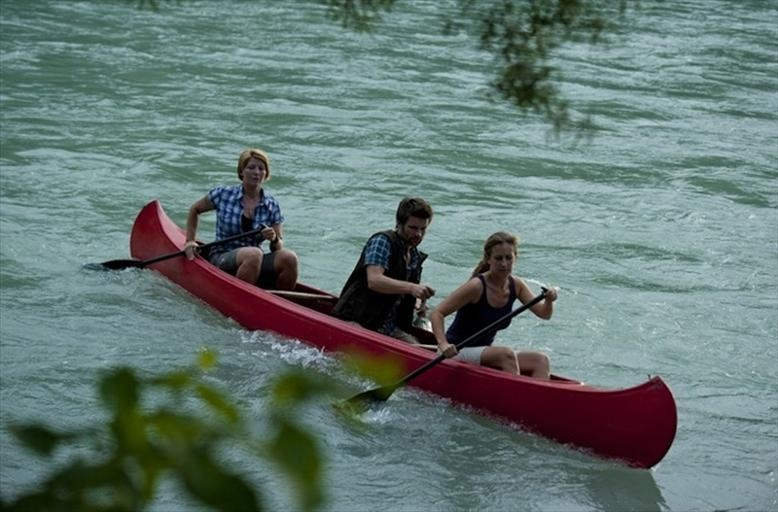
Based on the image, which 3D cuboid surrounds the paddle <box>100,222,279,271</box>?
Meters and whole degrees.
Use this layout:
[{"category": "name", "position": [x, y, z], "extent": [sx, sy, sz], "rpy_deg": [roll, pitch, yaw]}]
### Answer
[{"category": "paddle", "position": [-2.623, -0.099, 15.713], "extent": [2.243, 0.098, 0.288], "rpy_deg": [-14, 21, 30]}]

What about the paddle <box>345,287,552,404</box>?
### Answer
[{"category": "paddle", "position": [0.614, 1.057, 13.830], "extent": [2.340, 0.202, 0.322], "rpy_deg": [-28, 8, -7]}]
